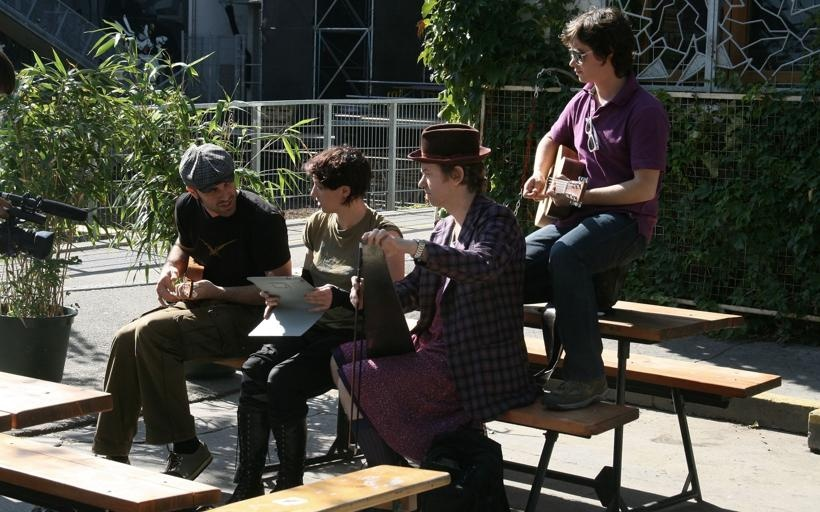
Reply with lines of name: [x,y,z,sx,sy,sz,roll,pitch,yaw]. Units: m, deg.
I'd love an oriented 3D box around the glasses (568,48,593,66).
glasses: [1.140,-1.297,5.038,0.131,0.043,0.108,-7,27,-43]

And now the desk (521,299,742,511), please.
desk: [1.374,1.066,5.098,1.316,1.245,1.349,8,15,33]

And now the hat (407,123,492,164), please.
hat: [0.260,-0.685,4.747,0.551,0.210,0.503,6,17,22]

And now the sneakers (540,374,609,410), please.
sneakers: [1.007,0.817,4.721,0.441,0.189,0.170,-1,0,-22]

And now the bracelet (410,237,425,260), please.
bracelet: [0.061,-0.043,4.414,0.072,0.114,0.104,5,2,-9]

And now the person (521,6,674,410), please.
person: [1.028,-0.376,5.055,1.032,2.458,0.940,-4,8,-37]
